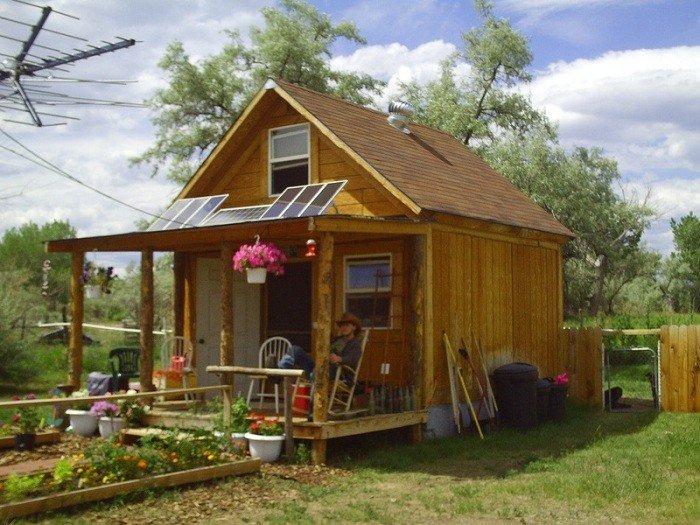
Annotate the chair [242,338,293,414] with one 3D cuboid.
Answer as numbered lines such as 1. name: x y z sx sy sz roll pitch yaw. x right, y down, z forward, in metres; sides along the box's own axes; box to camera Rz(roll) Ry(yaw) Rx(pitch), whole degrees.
1. chair: -1.475 2.029 12.217 0.730 1.327 0.783 0 -4 4

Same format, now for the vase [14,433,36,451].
1. vase: -5.498 3.035 11.377 0.267 0.220 0.273 4 -8 -26

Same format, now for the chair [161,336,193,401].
1. chair: -3.389 2.049 13.120 0.521 1.168 0.537 1 2 -6

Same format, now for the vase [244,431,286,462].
1. vase: -1.356 2.901 10.523 0.439 0.301 0.469 2 -6 5

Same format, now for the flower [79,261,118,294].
1. flower: -5.350 0.305 14.260 0.659 0.684 1.000 3 -9 -22

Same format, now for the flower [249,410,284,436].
1. flower: -1.345 2.559 10.684 0.318 0.207 0.355 2 -5 9

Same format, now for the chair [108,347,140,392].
1. chair: -4.845 2.290 14.492 0.561 0.884 2.674 3 -9 -17

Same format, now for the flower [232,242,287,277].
1. flower: -1.616 -0.106 12.084 0.665 0.492 0.698 1 3 28

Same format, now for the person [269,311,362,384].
1. person: -0.489 1.486 11.730 1.295 1.530 0.937 17 -16 -8

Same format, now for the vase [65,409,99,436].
1. vase: -5.021 3.006 12.608 0.503 0.390 0.538 -2 -11 9

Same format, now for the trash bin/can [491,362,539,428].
1. trash bin/can: 3.456 2.745 14.051 1.033 1.211 1.060 -1 0 -6

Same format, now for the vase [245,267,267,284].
1. vase: -1.673 0.228 12.151 0.321 0.251 0.354 0 -8 -1
